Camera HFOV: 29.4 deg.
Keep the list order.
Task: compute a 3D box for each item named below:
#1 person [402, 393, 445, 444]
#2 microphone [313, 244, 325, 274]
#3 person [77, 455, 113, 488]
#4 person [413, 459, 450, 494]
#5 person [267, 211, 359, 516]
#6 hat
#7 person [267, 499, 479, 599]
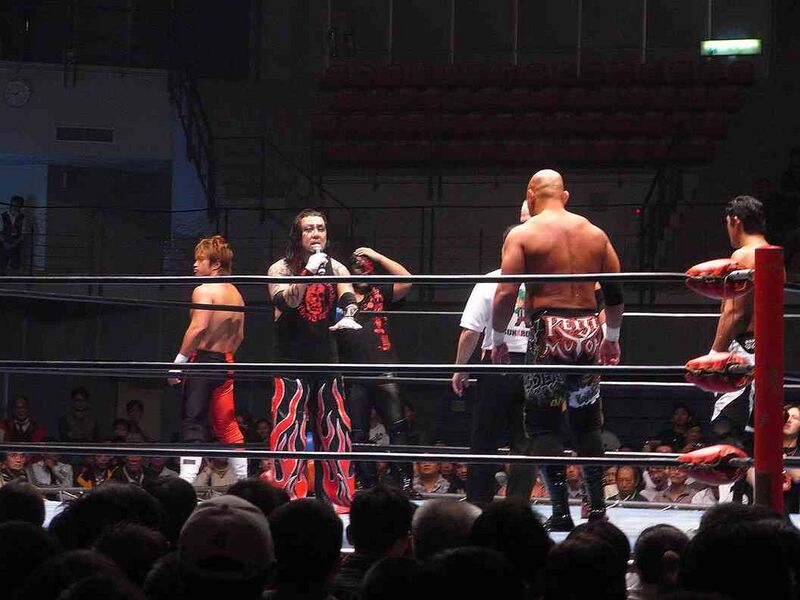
[{"bbox_3d":[0.357,1.516,19.288,0.872,0.659,0.188,-4,-4,-11],"label":"person"},{"bbox_3d":[-0.761,-0.381,14.486,0.126,0.319,0.167,4,-16,-7],"label":"microphone"},{"bbox_3d":[-3.486,1.981,17.443,0.412,0.415,0.866,5,-14,-11],"label":"person"},{"bbox_3d":[0.342,2.005,16.914,0.398,0.355,0.707,2,-14,1],"label":"person"},{"bbox_3d":[-0.850,0.576,14.554,0.908,2.883,1.011,1,-16,3],"label":"person"},{"bbox_3d":[-1.469,1.979,12.743,0.622,0.369,0.757,4,9,-14],"label":"hat"},{"bbox_3d":[0.148,2.098,12.794,1.021,0.878,0.707,2,-15,0],"label":"person"}]
